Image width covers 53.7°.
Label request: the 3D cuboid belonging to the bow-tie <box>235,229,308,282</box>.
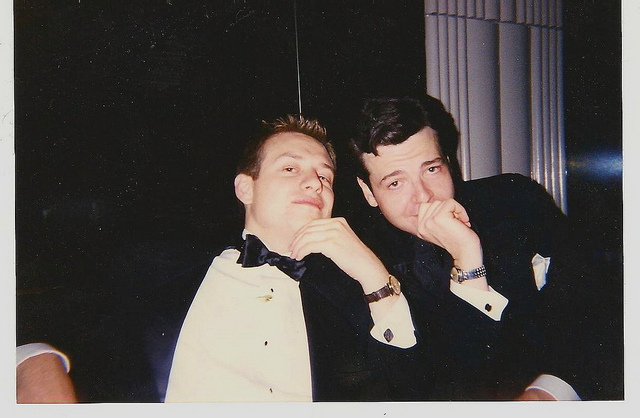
[{"bbox_3d":[-0.248,0.267,3.409,0.348,0.168,0.101,20,8,-18],"label":"bow-tie"}]

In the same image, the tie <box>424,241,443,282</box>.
[{"bbox_3d":[0.607,0.274,3.360,0.101,0.195,0.044,-10,1,0],"label":"tie"}]
